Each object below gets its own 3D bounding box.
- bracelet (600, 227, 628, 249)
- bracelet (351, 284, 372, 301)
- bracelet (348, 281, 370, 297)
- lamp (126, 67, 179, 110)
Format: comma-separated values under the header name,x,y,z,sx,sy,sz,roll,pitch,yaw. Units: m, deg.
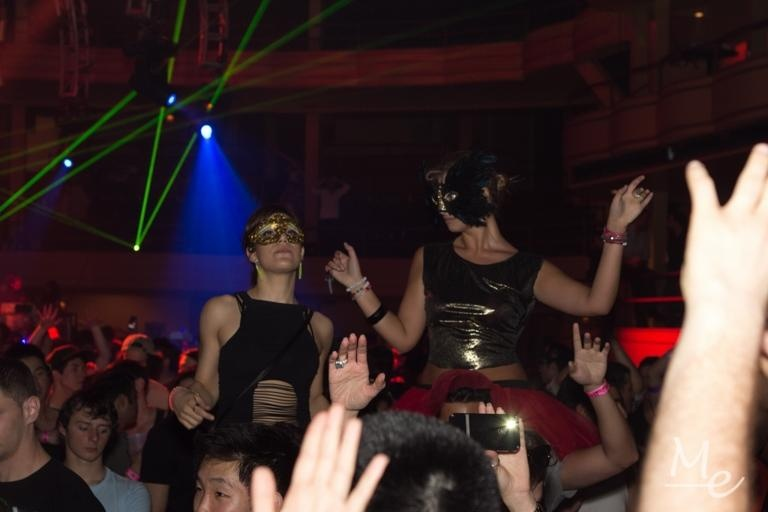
name,x,y,z,sx,sy,sz,roll,pitch,yaw
bracelet,1.589,-0.116,4.763,0.154,0.084,0.138,19,0,-5
bracelet,-0.171,0.263,5.025,0.043,0.126,0.095,55,12,-11
bracelet,-0.188,0.225,5.045,0.102,0.140,0.053,47,-13,37
lamp,-4.301,-3.006,12.741,1.034,0.420,0.787,28,38,34
